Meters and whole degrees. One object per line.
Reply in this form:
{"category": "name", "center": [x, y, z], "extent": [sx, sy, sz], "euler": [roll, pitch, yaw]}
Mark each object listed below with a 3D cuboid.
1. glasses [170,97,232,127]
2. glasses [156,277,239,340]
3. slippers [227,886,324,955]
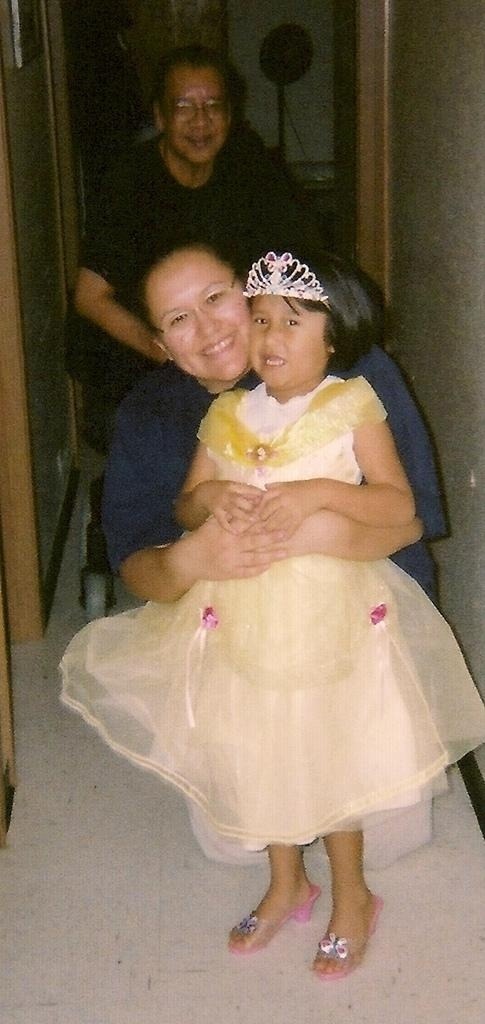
{"category": "glasses", "center": [-0.079, -0.734, 1.690], "extent": [0.093, 0.037, 0.022], "euler": [-7, 33, -8]}
{"category": "glasses", "center": [-0.057, -0.241, 1.092], "extent": [0.069, 0.091, 0.068], "euler": [-5, 55, -6]}
{"category": "slippers", "center": [0.052, 0.641, 1.493], "extent": [0.157, 0.072, 0.061], "euler": [-6, 12, -30]}
